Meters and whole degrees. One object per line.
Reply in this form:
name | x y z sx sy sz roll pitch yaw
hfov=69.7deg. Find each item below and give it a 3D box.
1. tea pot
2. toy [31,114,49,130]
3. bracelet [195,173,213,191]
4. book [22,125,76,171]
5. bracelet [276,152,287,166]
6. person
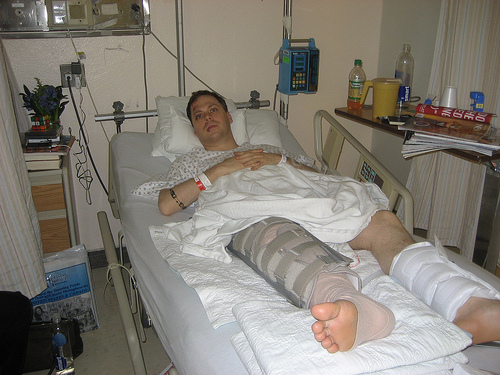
tea pot | 0.847 -0.597 2.375 0.309 0.341 0.197 1 14 22
toy | -1.231 -0.372 2.094 0.087 0.093 0.090 1 5 9
bracelet | -0.235 -0.013 1.882 0.071 0.058 0.088 -39 -17 -5
book | -1.199 -0.204 2.141 0.247 0.146 0.308 -8 22 -18
bracelet | 0.179 -0.149 1.924 0.036 0.046 0.111 13 20 15
person | 0.238 0.168 1.495 0.684 0.396 1.258 -12 35 -23
